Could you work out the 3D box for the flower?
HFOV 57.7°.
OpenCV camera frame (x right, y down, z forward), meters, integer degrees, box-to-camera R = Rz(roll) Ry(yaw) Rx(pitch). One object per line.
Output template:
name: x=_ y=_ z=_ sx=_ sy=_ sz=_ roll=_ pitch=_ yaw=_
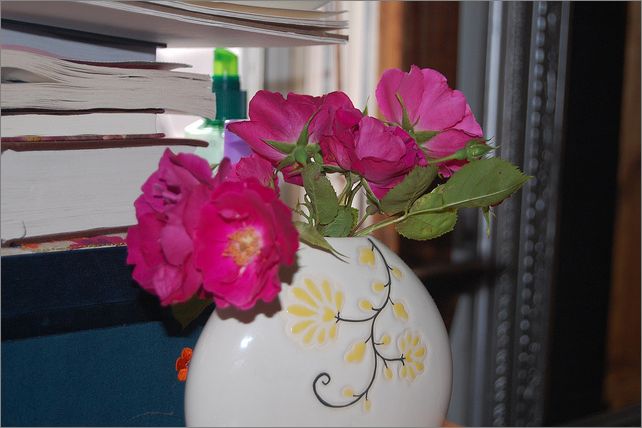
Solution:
flower: x=-0.009 y=-0.049 z=0.654 sx=0.320 sy=0.186 sz=0.363 roll=-3 pitch=38 yaw=15
